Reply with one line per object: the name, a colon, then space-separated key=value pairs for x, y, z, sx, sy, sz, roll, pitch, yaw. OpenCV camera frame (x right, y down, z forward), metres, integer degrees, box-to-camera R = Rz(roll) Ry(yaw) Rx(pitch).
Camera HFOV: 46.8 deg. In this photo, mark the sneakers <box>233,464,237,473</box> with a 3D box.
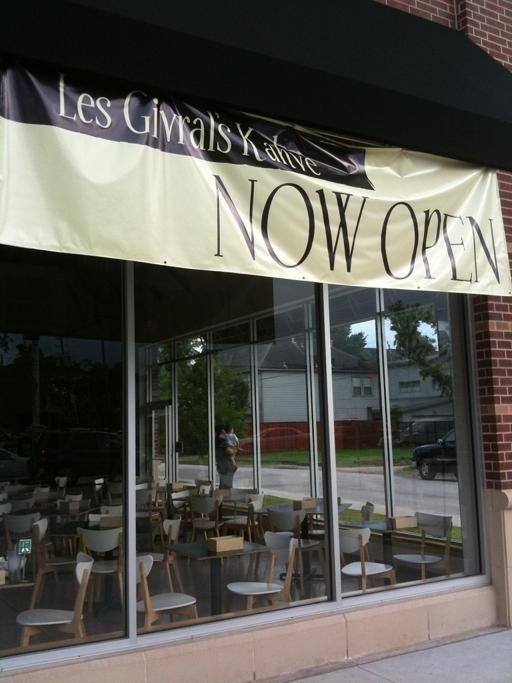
sneakers: x=-0.261 y=1.553 z=7.254 sx=0.041 sy=0.095 sz=0.191 roll=-4 pitch=-12 yaw=-11
